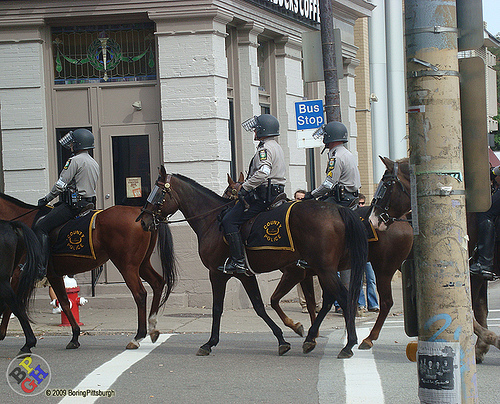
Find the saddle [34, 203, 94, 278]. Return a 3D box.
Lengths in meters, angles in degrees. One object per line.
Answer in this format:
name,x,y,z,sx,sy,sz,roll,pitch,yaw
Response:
saddle,-2.867,0.539,18.083,1.084,1.663,0.436,-2,8,-25

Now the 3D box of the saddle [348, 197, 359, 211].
saddle,1.632,0.025,17.842,0.155,0.183,0.161,-16,44,18

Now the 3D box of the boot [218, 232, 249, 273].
boot,-0.196,0.709,17.006,0.293,0.588,0.198,0,7,30

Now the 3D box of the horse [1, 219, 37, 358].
horse,-3.414,1.235,17.297,0.572,1.980,1.092,-5,6,-10
